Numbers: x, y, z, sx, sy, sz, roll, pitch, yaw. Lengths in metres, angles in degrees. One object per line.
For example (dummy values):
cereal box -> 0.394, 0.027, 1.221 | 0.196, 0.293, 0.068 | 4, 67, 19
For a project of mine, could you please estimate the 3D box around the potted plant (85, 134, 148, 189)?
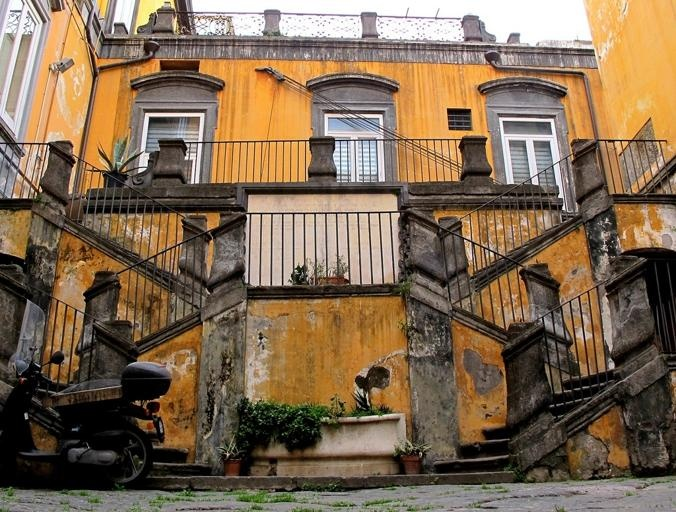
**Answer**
potted plant -> -5.079, -2.197, 15.070 | 0.924, 1.177, 1.064 | 4, 9, 2

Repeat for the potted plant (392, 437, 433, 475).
potted plant -> 1.000, 2.717, 8.851 | 0.386, 0.354, 0.401 | 5, -23, -8

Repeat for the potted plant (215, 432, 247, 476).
potted plant -> -1.444, 2.697, 8.877 | 0.374, 0.562, 0.436 | 3, -32, -11
